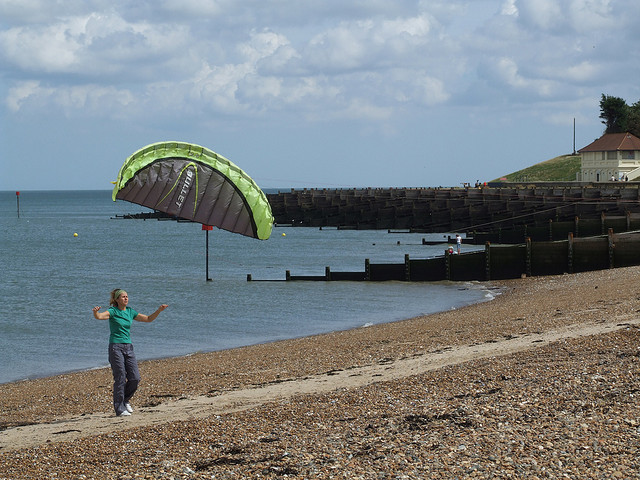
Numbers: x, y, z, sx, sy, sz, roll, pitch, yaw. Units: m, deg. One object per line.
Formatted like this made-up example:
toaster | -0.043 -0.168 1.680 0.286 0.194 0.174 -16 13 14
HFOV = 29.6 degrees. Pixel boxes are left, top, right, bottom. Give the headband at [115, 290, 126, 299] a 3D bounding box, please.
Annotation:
headband | -5.597 1.479 33.777 0.199 0.212 0.354 -4 7 27
